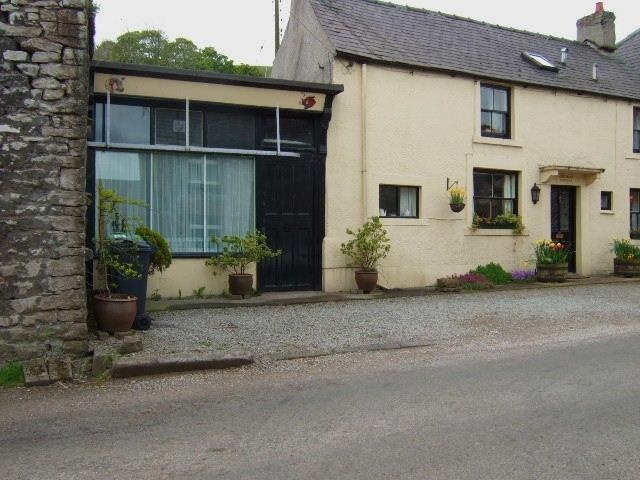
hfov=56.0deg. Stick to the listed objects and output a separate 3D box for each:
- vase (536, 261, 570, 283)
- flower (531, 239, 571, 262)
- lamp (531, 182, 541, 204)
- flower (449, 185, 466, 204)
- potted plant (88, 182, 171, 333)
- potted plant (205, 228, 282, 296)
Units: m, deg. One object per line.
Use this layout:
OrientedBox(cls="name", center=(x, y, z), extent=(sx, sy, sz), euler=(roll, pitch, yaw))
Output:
OrientedBox(cls="vase", center=(6.364, 0.868, 16.493), extent=(0.560, 0.455, 0.579), euler=(-1, 2, -18))
OrientedBox(cls="flower", center=(6.384, 0.349, 16.686), extent=(0.707, 0.527, 0.749), euler=(-2, -2, 30))
OrientedBox(cls="lamp", center=(6.153, -1.331, 17.170), extent=(0.415, 0.593, 0.210), euler=(-9, 13, -41))
OrientedBox(cls="flower", center=(3.621, -1.175, 15.954), extent=(0.465, 0.547, 0.446), euler=(1, -3, 8))
OrientedBox(cls="potted plant", center=(-3.457, 0.145, 10.719), extent=(1.289, 2.032, 1.200), euler=(-2, 8, -39))
OrientedBox(cls="potted plant", center=(-1.814, 0.548, 13.282), extent=(1.494, 1.571, 0.935), euler=(-6, -9, 19))
